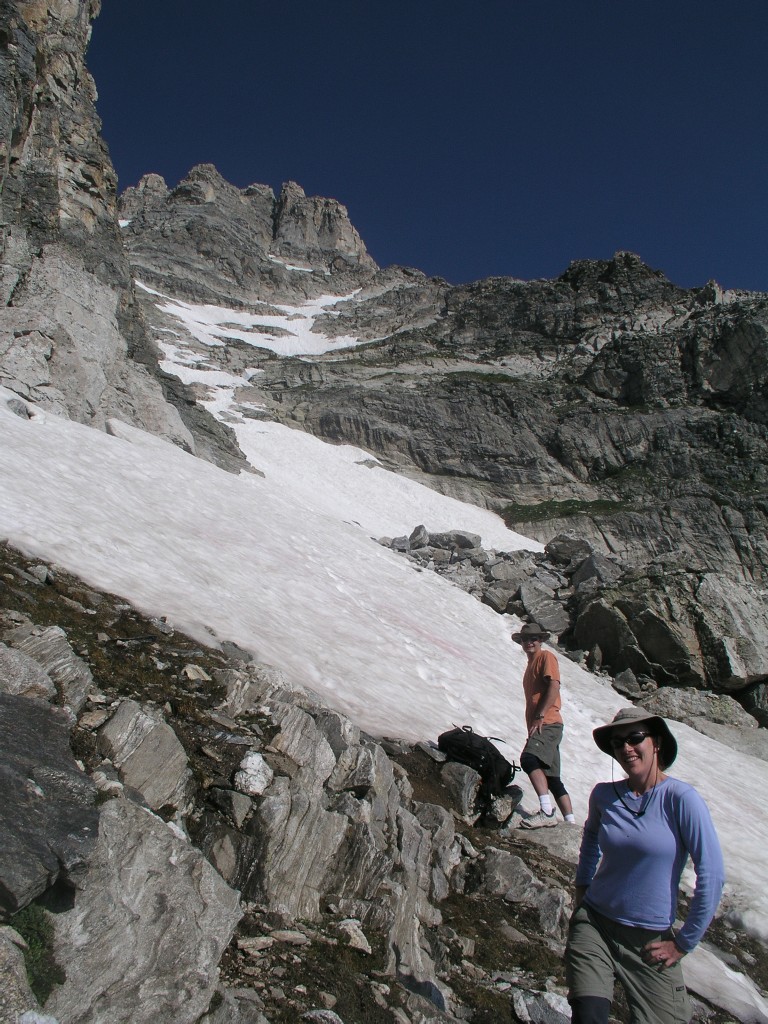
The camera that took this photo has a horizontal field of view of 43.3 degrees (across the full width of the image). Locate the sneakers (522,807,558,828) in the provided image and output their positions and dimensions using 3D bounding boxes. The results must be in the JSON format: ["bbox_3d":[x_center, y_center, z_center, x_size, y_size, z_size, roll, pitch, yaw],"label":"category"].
[{"bbox_3d":[1.765,3.528,11.033,0.292,0.171,0.467,11,3,35],"label":"sneakers"}]

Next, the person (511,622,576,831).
[{"bbox_3d":[2.126,2.959,13.046,1.005,0.816,2.521,9,34,4],"label":"person"}]
